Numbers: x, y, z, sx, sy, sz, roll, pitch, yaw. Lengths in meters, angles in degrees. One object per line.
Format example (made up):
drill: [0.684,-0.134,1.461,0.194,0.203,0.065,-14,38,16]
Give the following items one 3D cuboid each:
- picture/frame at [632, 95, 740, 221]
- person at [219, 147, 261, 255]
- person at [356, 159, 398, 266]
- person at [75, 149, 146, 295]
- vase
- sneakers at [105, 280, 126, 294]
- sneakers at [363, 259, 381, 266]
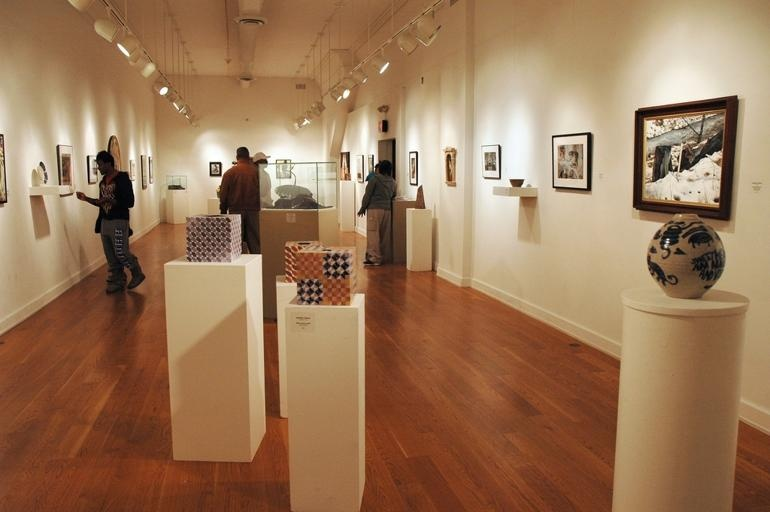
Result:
picture/frame: [2.929,-0.938,5.135,0.084,1.285,1.261,-1,5,-19]
person: [-2.228,-0.775,8.193,0.590,1.656,0.975,-4,14,-17]
person: [-0.172,-0.895,11.369,0.553,2.149,0.810,9,16,33]
person: [-4.508,-0.526,8.884,0.656,2.316,0.527,-2,13,-8]
vase: [2.103,0.014,3.683,0.424,0.568,0.447,0,-1,2]
sneakers: [-4.558,0.554,9.008,0.132,0.167,0.391,-1,-5,-5]
sneakers: [-0.274,0.164,11.391,0.345,0.168,0.134,-1,2,1]
